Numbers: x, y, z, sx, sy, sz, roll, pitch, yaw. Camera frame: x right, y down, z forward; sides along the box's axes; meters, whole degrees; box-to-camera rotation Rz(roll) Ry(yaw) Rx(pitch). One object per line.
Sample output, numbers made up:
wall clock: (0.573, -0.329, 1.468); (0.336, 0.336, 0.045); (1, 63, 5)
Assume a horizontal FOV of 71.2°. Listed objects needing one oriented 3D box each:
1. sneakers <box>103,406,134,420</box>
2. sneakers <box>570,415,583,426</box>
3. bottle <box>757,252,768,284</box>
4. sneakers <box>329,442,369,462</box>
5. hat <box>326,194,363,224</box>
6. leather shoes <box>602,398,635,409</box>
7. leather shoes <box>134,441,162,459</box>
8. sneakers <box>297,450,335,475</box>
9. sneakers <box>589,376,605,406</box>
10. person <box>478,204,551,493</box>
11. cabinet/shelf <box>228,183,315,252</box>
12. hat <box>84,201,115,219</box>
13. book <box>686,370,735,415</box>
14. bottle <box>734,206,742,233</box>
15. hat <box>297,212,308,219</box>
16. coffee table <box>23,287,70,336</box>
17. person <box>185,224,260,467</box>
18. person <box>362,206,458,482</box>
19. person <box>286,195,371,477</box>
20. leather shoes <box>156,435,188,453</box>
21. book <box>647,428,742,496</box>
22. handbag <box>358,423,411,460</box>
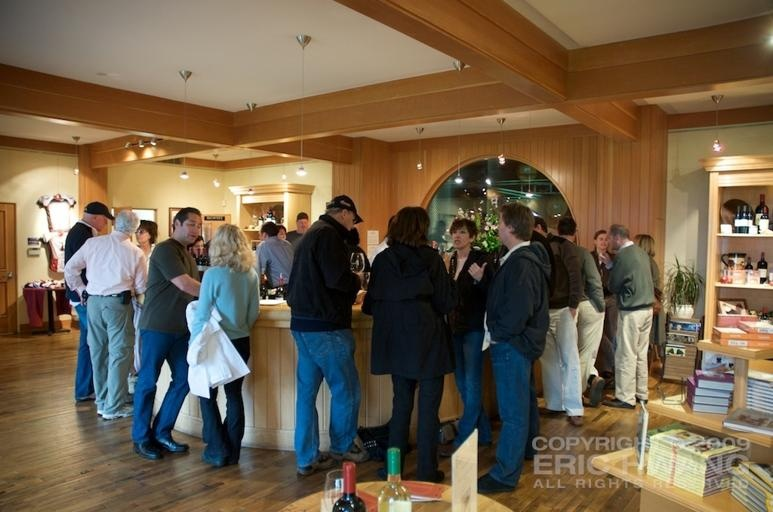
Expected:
sneakers: (-3.109, 1.794, 6.246); (0.348, 0.167, 0.126); (-4, 6, -32)
sneakers: (2.119, 1.829, 6.039); (0.074, 0.065, 0.148); (-1, 6, -14)
bottle: (5.217, 0.156, 7.488); (0.145, 0.381, 0.521); (4, 9, 34)
sneakers: (-0.377, 1.891, 5.215); (0.369, 0.171, 0.146); (-1, -3, -11)
hat: (-0.393, -0.478, 5.235); (0.428, 0.273, 0.281); (8, 0, -36)
leather shoes: (2.852, 1.784, 6.639); (0.351, 0.148, 0.133); (7, 3, 26)
leather shoes: (-2.364, 1.886, 5.348); (0.324, 0.145, 0.127); (4, 1, 33)
sneakers: (-0.644, 1.945, 5.106); (0.382, 0.170, 0.145); (-7, 8, -41)
sneakers: (2.584, 1.638, 6.658); (0.166, 0.407, 0.164); (2, 0, -9)
person: (1.133, 0.815, 4.833); (0.599, 2.543, 0.481); (1, 6, 7)
cabinet/shelf: (-2.022, -0.749, 9.697); (1.407, 1.453, 0.610); (0, 0, 29)
hat: (-3.661, -0.592, 6.980); (0.292, 0.257, 0.414); (8, 6, 40)
book: (2.332, 0.983, 3.890); (0.252, 0.251, 0.343); (5, 2, 27)
bottle: (4.851, -0.502, 7.438); (0.082, 0.334, 0.157); (4, 8, 33)
hat: (-1.345, -0.648, 8.773); (0.162, 0.109, 0.161); (4, -2, -34)
coffee table: (-6.743, 1.056, 10.567); (0.835, 0.859, 0.867); (-1, -3, 6)
person: (-1.541, 0.849, 5.129); (0.673, 2.281, 0.399); (-2, 7, -20)
person: (0.197, 0.785, 4.824); (0.793, 2.420, 0.401); (1, 6, 8)
person: (-0.570, 0.728, 5.048); (0.703, 2.551, 0.384); (-1, 6, -10)
leather shoes: (-2.161, 1.891, 5.484); (0.364, 0.162, 0.141); (9, -6, 2)
book: (2.163, 1.455, 3.812); (0.487, 0.185, 0.368); (1, -2, -40)
handbag: (-0.114, 1.801, 5.272); (0.414, 0.196, 0.481); (0, 5, 16)
